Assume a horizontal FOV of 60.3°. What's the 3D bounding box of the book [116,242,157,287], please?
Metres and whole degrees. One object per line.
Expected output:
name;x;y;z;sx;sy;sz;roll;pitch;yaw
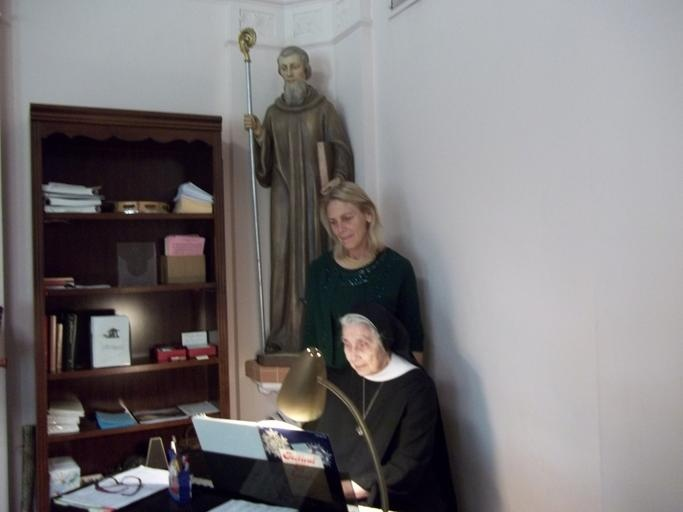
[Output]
book;-1.182;0.052;3.354;0.213;0.272;0.087;0;-9;-25

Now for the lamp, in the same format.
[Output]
lamp;-0.035;0.584;1.972;0.332;0.588;0.160;-5;5;-6

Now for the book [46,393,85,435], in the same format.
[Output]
book;-1.488;0.842;3.164;0.173;0.105;0.269;-8;6;-24

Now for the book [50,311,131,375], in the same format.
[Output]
book;-1.348;0.455;3.172;0.325;0.349;0.078;3;-8;-34

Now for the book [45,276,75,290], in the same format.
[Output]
book;-1.514;0.134;3.148;0.135;0.064;0.259;-8;6;-24

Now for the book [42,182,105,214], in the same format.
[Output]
book;-1.427;-0.298;3.080;0.196;0.100;0.201;0;0;-32
